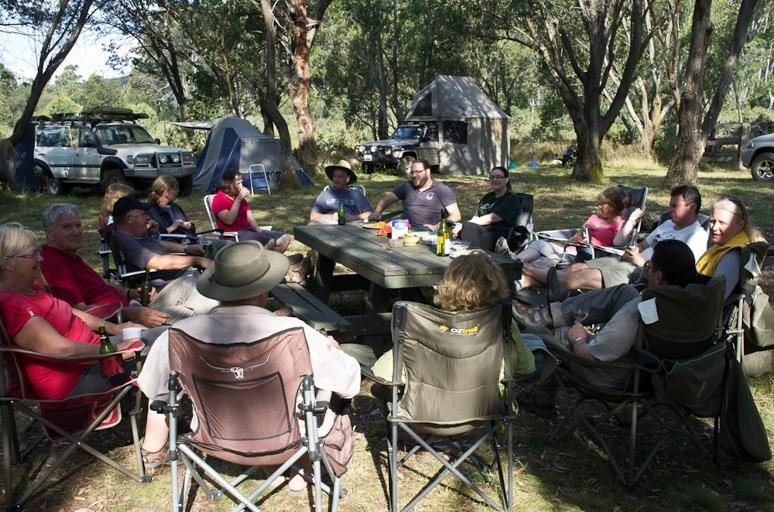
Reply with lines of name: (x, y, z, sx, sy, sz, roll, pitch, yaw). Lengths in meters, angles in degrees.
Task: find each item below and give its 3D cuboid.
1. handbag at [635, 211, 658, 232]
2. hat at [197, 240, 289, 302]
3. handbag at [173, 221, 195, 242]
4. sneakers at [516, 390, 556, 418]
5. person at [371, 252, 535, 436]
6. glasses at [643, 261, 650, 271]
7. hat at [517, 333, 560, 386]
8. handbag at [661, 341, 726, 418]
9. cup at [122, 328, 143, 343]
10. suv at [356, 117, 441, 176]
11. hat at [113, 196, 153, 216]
handbag: (3.262, -0.432, 8.174, 0.211, 0.206, 0.214, 34, 34, 15)
hat: (-0.893, 0.098, 4.149, 0.439, 0.138, 0.407, -30, 44, -28)
handbag: (-2.277, -0.309, 7.412, 0.236, 0.207, 0.100, 8, -19, -31)
sneakers: (1.211, 1.164, 5.166, 0.252, 0.108, 0.190, 2, 8, -44)
person: (0.408, 0.696, 4.774, 1.341, 1.209, 0.841, 2, 11, -5)
glasses: (2.381, 0.090, 5.970, 0.019, 0.070, 0.067, 17, -8, -8)
hat: (1.077, 0.741, 4.588, 0.317, 0.349, 0.145, 9, -15, -10)
handbag: (2.133, 0.836, 4.515, 0.460, 0.562, 0.289, -1, 4, -12)
cup: (-1.790, 0.559, 4.615, 0.109, 0.090, 0.092, 2, -1, -5)
suv: (0.301, -3.496, 21.230, 3.834, 2.019, 2.177, -6, 9, -38)
hat: (-2.394, -0.466, 6.113, 0.263, 0.159, 0.180, -22, 19, -26)
